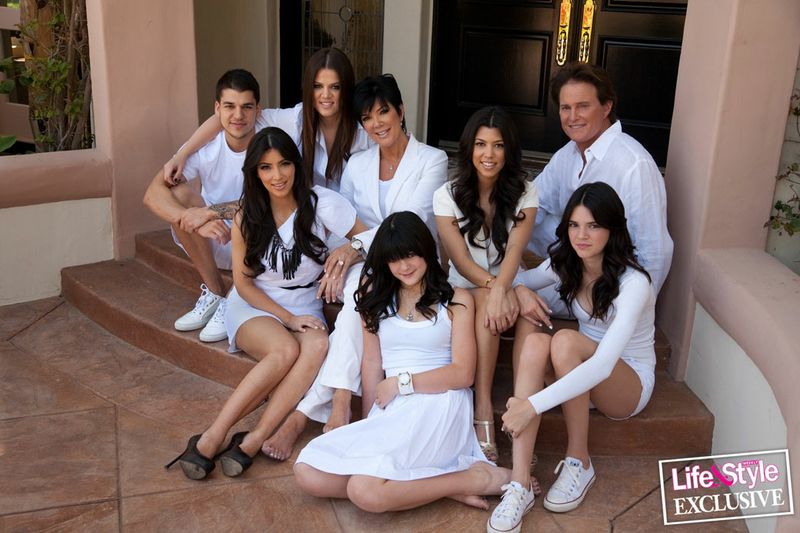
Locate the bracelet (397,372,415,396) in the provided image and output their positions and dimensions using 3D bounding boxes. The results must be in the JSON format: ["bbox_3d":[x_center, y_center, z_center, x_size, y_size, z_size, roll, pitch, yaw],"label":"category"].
[{"bbox_3d":[0.025,0.574,2.828,0.077,0.104,0.098,-4,10,-1],"label":"bracelet"}]

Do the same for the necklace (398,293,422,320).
[{"bbox_3d":[0.043,0.210,2.902,0.097,0.145,0.039,-3,-8,17],"label":"necklace"}]

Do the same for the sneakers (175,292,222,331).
[{"bbox_3d":[-1.279,0.294,3.645,0.085,0.113,0.257,31,42,20],"label":"sneakers"}]

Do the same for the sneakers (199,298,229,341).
[{"bbox_3d":[-1.149,0.339,3.520,0.108,0.140,0.312,11,27,14],"label":"sneakers"}]

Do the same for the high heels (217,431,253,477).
[{"bbox_3d":[-0.830,0.965,2.883,0.160,0.161,0.180,-8,23,-22],"label":"high heels"}]

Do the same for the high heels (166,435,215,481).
[{"bbox_3d":[-0.994,0.965,2.847,0.166,0.185,0.144,9,23,19],"label":"high heels"}]

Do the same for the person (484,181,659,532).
[{"bbox_3d":[0.825,0.383,2.724,0.591,1.440,1.015,18,27,36],"label":"person"}]

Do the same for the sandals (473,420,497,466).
[{"bbox_3d":[0.431,0.865,2.899,0.078,0.252,0.100,-8,-8,-6],"label":"sandals"}]

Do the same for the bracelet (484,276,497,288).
[{"bbox_3d":[0.471,0.079,3.003,0.022,0.063,0.047,32,28,-18],"label":"bracelet"}]
